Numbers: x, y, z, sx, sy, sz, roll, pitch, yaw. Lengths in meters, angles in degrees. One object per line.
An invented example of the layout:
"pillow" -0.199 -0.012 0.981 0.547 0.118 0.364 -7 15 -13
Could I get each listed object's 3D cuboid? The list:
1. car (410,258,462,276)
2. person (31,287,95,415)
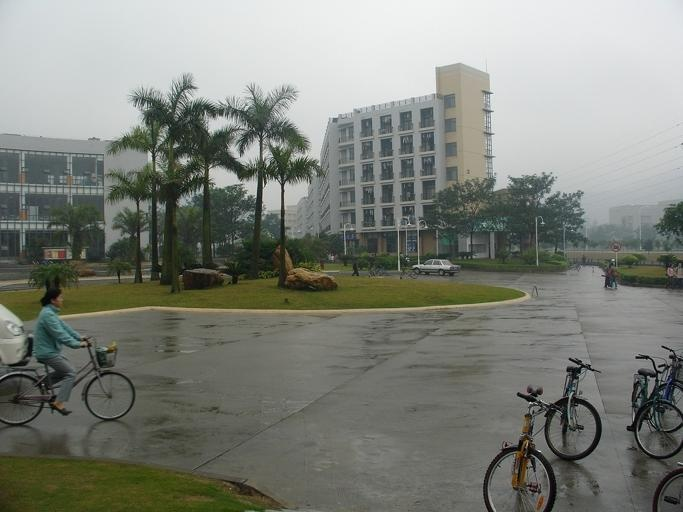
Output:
"car" 9.399 1.093 62.953 4.512 1.481 2.414 2 4 38
"person" -5.144 1.763 11.153 0.822 2.364 0.908 -2 4 -28
